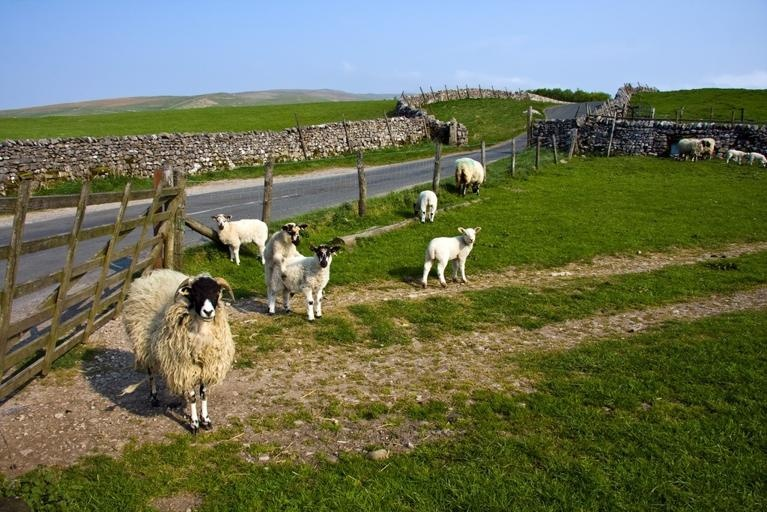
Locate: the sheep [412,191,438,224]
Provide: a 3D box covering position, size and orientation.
[{"bbox_3d":[2.087,-2.334,23.481,0.874,1.396,1.000,-1,18,-3],"label":"sheep"}]

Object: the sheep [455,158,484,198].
[{"bbox_3d":[4.858,-4.428,27.769,1.069,1.962,1.752,12,22,32],"label":"sheep"}]

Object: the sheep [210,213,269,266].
[{"bbox_3d":[-5.198,-0.588,17.792,0.754,1.680,2.233,4,6,34],"label":"sheep"}]

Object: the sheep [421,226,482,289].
[{"bbox_3d":[2.446,-0.005,18.054,1.633,2.082,2.858,6,19,16],"label":"sheep"}]

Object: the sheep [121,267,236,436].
[{"bbox_3d":[-4.266,1.789,10.360,2.307,2.926,1.251,12,21,31],"label":"sheep"}]

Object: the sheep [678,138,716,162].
[{"bbox_3d":[26.700,-8.951,41.535,2.869,1.698,1.780,-3,18,-11],"label":"sheep"}]
